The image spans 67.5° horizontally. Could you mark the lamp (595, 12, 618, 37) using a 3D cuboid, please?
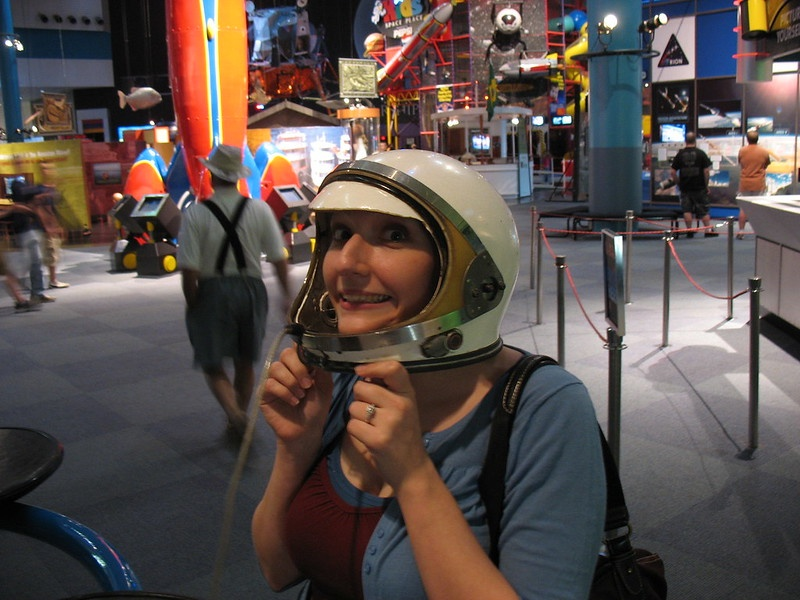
[{"bbox_3d":[4.466,-5.977,12.913,0.421,0.452,0.538,2,15,18],"label":"lamp"}]

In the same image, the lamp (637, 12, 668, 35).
[{"bbox_3d":[5.467,-6.047,12.989,0.519,0.386,0.764,5,16,27],"label":"lamp"}]

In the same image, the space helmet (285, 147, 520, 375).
[{"bbox_3d":[0.045,-0.091,1.531,0.541,0.459,0.466,-1,1,-37],"label":"space helmet"}]

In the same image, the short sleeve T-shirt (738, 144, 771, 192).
[{"bbox_3d":[7.690,-2.875,13.122,0.549,1.052,0.344,6,16,29],"label":"short sleeve T-shirt"}]

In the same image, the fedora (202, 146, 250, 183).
[{"bbox_3d":[-1.355,-1.031,4.756,0.331,0.142,0.318,10,34,-32],"label":"fedora"}]

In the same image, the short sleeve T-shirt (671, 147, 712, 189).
[{"bbox_3d":[6.423,-2.919,13.301,0.722,0.985,0.436,4,16,24],"label":"short sleeve T-shirt"}]

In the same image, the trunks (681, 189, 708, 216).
[{"bbox_3d":[6.650,-2.154,13.667,0.494,0.894,0.651,3,-4,13],"label":"trunks"}]
